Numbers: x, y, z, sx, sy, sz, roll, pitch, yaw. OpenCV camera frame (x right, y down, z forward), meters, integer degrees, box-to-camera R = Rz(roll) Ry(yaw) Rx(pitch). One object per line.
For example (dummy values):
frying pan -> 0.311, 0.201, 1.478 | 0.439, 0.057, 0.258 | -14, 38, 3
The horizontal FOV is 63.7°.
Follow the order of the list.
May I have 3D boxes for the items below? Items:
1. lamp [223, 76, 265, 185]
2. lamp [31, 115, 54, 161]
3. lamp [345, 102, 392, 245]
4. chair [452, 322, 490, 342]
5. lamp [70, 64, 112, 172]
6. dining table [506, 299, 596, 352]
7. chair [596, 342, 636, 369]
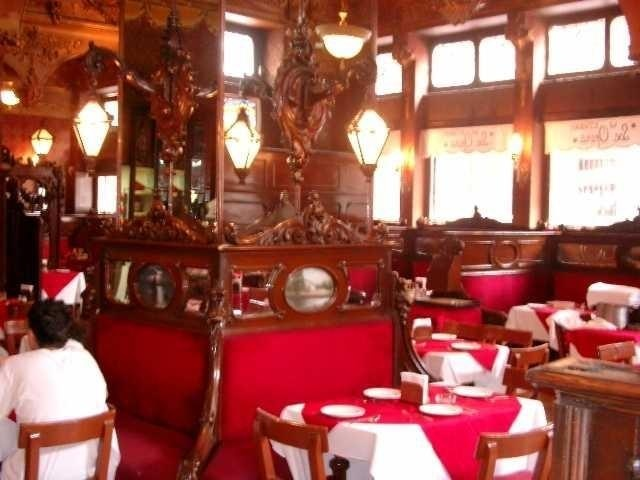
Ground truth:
lamp -> -0.596, -0.860, 3.971 | 0.269, 0.825, 0.154 | 1, 2, -13
lamp -> -5.301, -1.964, 9.886 | 0.446, 0.911, 0.413 | -1, 0, -45
lamp -> 0.408, -0.546, 4.192 | 0.250, 1.400, 0.316 | 10, 38, 16
chair -> 1.569, 0.940, 5.312 | 0.216, 0.279, 0.206 | 8, -10, -26
lamp -> -2.075, -1.129, 4.742 | 0.315, 1.033, 0.466 | 0, 3, -23
dining table -> 2.766, 0.959, 6.270 | 0.870, 0.353, 0.882 | -1, -1, -30
chair -> 2.562, 1.001, 4.464 | 0.233, 0.256, 0.760 | 3, 3, 35
